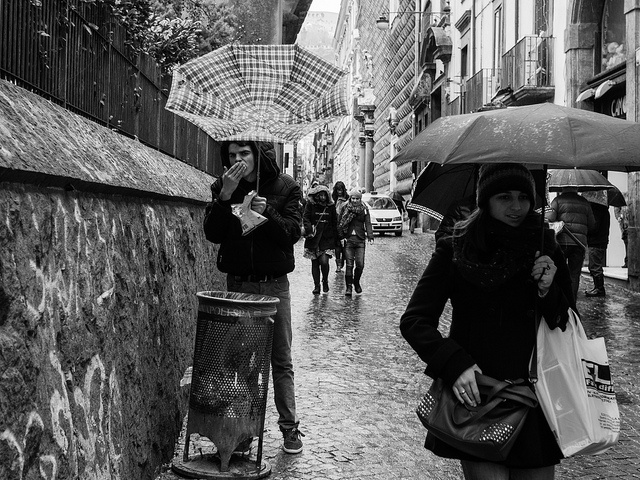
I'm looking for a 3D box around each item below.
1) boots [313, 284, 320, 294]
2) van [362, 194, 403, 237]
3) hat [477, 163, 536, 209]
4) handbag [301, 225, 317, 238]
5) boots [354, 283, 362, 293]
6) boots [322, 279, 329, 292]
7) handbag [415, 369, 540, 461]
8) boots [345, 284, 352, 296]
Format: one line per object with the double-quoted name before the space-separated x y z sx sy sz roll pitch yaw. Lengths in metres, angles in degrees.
"boots" -0.070 0.992 13.508 0.160 0.191 0.356 0 3 -4
"van" 3.259 -1.285 34.361 1.510 1.688 3.189 -1 -1 -4
"hat" 0.899 -0.282 3.150 0.225 0.258 0.224 1 -6 42
"handbag" -0.213 -0.168 13.133 0.179 0.263 0.122 -5 -35 -19
"boots" 0.778 0.971 13.540 0.154 0.225 0.434 0 3 4
"boots" 0.109 0.917 13.568 0.097 0.324 0.239 0 3 5
"handbag" 0.671 0.773 2.902 0.449 0.446 0.232 8 -31 48
"boots" 0.571 0.992 13.319 0.139 0.216 0.373 0 3 2
